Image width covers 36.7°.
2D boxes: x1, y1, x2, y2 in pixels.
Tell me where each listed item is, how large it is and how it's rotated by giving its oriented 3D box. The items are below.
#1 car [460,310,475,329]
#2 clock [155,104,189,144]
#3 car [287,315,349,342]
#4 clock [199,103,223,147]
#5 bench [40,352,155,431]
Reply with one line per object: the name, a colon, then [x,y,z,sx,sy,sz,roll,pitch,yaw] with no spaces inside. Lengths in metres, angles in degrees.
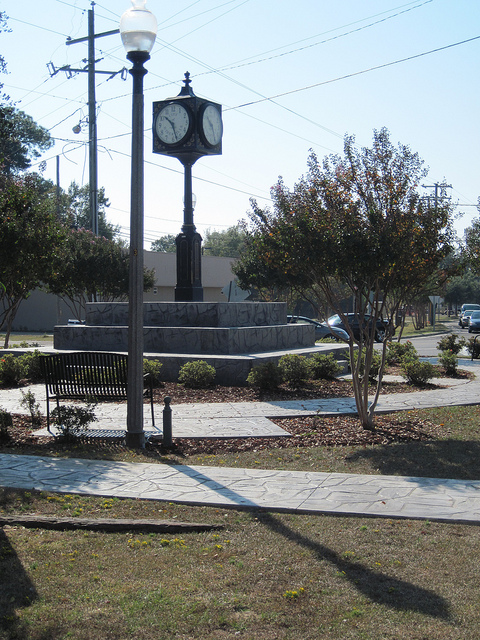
car: [16.636,-0.133,52.604,0.801,0.815,1.787,-1,-4,6]
clock: [-1.547,-4.534,16.722,0.931,1.061,0.136,-1,-1,30]
car: [2.787,0.331,25.828,2.097,0.759,0.918,-1,1,-4]
clock: [-0.668,-4.612,16.995,0.124,1.053,1.055,-17,32,-32]
bench: [-1.931,0.916,9.789,1.285,1.028,0.517,-1,3,7]
